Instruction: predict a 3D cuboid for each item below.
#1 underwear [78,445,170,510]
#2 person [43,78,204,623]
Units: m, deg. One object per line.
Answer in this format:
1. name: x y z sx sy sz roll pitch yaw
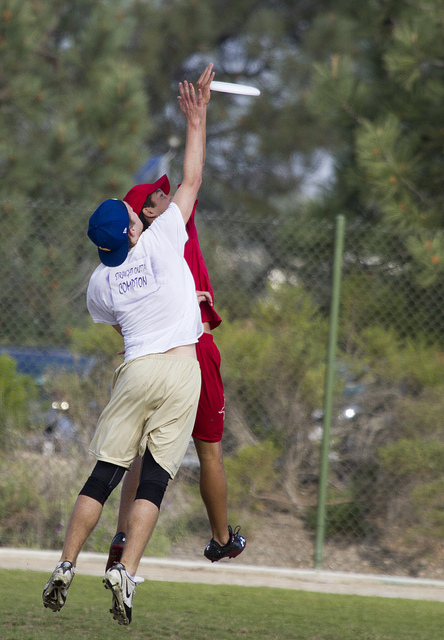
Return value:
1. underwear: -0.434 0.692 4.447 0.381 0.269 0.133 5 4 4
2. person: -0.381 0.072 4.529 0.586 2.417 0.885 5 5 -1
